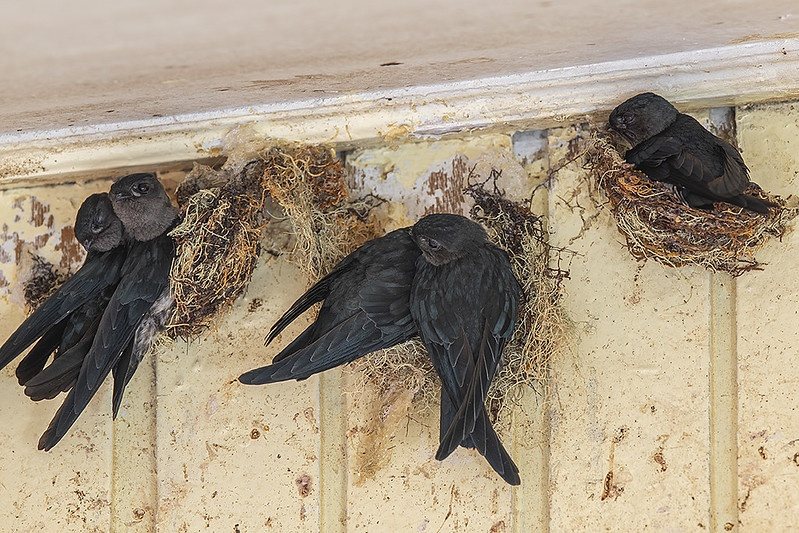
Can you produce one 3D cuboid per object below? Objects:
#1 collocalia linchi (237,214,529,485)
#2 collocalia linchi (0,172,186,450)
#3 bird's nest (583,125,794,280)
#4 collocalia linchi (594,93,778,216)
[{"bbox_3d":[0.010,0.199,3.519,0.719,0.513,0.572,5,44,16],"label":"collocalia linchi"},{"bbox_3d":[-0.842,0.165,3.709,0.527,0.373,0.773,15,77,48],"label":"collocalia linchi"},{"bbox_3d":[0.760,-0.128,3.497,0.469,0.382,0.149,27,79,-11],"label":"bird's nest"},{"bbox_3d":[0.773,-0.307,3.501,0.502,0.221,0.236,23,55,31],"label":"collocalia linchi"}]
